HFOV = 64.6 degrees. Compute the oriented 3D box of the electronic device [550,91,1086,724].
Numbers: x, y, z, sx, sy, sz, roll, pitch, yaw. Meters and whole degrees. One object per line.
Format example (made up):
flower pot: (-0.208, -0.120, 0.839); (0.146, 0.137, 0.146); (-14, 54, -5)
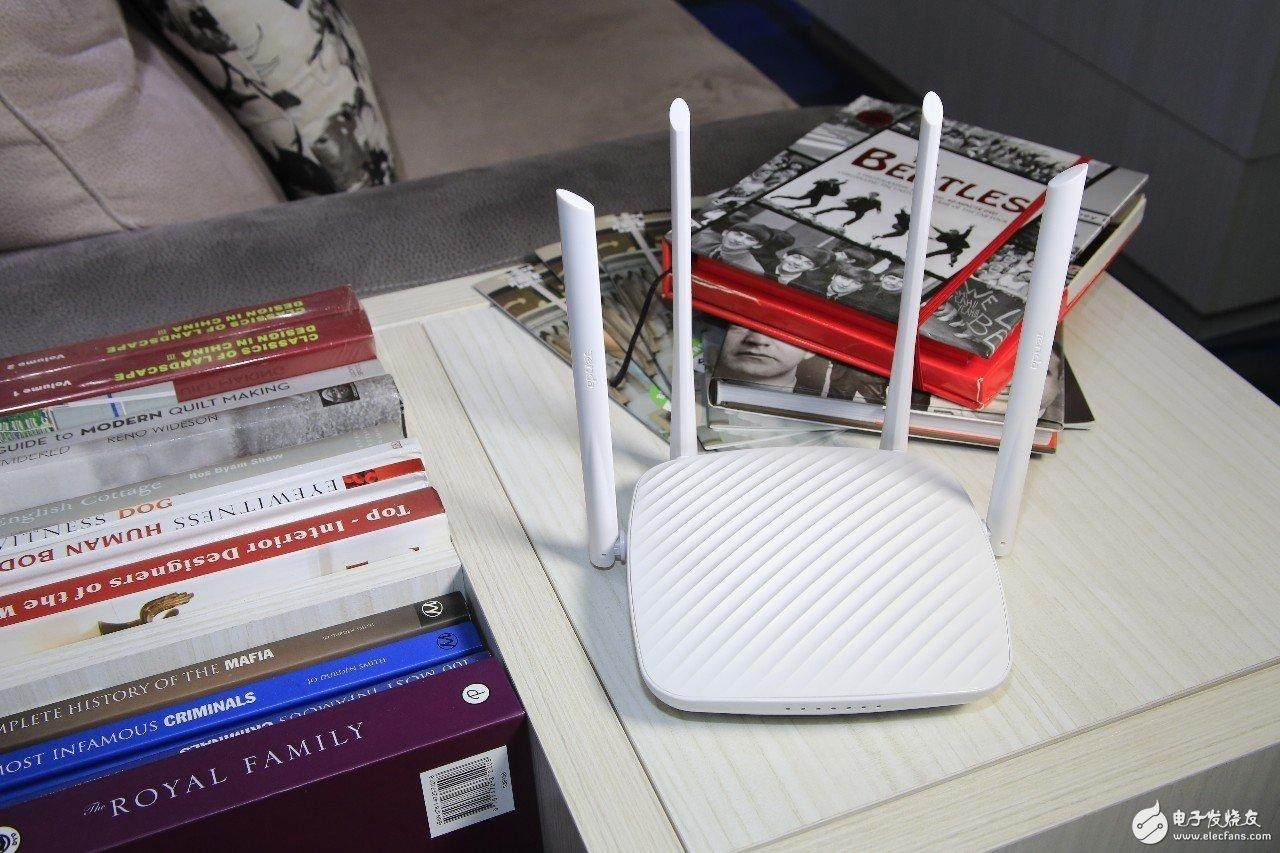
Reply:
electronic device: (0.143, -0.035, 0.794); (0.355, 0.358, 0.302); (6, 25, 6)
